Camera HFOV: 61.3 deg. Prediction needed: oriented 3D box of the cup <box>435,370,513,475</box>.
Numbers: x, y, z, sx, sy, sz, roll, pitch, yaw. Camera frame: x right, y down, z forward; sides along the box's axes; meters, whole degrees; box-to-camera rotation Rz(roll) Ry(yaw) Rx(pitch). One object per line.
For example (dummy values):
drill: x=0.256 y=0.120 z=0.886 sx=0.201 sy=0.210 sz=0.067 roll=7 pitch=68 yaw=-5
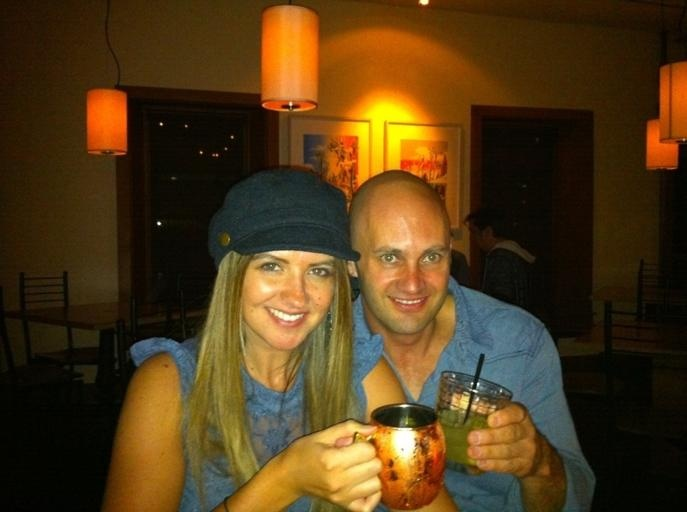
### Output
cup: x=0.445 y=0.659 z=2.389 sx=0.338 sy=0.393 sz=0.368 roll=8 pitch=-10 yaw=1

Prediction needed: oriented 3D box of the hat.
hat: x=-0.249 y=-0.161 z=2.455 sx=0.619 sy=0.415 sz=0.287 roll=0 pitch=2 yaw=-14
